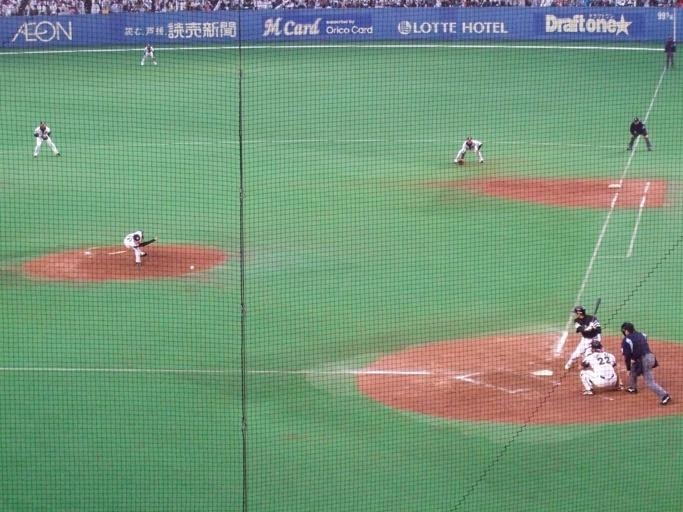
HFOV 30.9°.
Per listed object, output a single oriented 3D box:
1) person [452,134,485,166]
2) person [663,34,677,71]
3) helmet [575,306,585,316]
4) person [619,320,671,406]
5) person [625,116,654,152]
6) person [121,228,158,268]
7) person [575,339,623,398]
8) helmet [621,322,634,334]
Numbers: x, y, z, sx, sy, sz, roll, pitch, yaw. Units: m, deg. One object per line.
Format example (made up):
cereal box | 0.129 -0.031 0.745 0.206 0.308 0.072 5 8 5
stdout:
person | 4.070 -3.367 39.067 0.931 0.983 1.526 7 18 6
person | 11.646 -7.162 43.564 0.444 1.081 1.367 10 19 13
helmet | 5.954 1.361 30.690 0.209 0.242 0.259 0 21 -9
person | 7.341 2.614 29.944 1.291 1.795 0.472 9 19 12
person | 9.523 -3.871 39.032 0.760 1.211 1.693 9 19 13
person | -5.744 -0.306 34.703 0.788 0.883 1.061 2 19 -11
person | 6.350 2.747 30.691 1.418 1.585 1.102 -4 10 5
helmet | 6.989 1.773 30.039 0.247 0.308 0.311 -6 5 7
